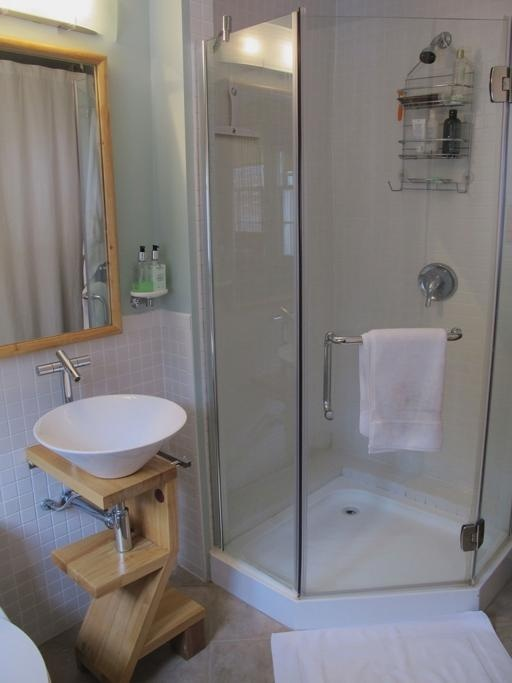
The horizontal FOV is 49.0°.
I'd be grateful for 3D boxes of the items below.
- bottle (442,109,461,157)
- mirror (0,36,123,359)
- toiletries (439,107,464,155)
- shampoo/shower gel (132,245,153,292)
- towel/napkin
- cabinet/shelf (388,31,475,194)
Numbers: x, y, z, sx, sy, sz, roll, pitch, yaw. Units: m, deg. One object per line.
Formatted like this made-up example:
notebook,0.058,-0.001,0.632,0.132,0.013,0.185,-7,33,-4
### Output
bottle,0.588,-0.623,1.687,0.055,0.131,0.029,1,13,19
mirror,-0.614,-0.426,1.754,0.087,0.902,0.436,7,16,40
toiletries,0.587,-0.634,1.680,0.060,0.160,0.061,20,32,39
shampoo/shower gel,-0.416,-0.261,2.038,0.077,0.161,0.111,-6,13,-12
towel/napkin,0.469,0.147,1.805,0.297,0.513,0.181,-3,15,-7
cabinet/shelf,0.532,-0.694,1.699,0.183,0.431,0.105,6,7,33
